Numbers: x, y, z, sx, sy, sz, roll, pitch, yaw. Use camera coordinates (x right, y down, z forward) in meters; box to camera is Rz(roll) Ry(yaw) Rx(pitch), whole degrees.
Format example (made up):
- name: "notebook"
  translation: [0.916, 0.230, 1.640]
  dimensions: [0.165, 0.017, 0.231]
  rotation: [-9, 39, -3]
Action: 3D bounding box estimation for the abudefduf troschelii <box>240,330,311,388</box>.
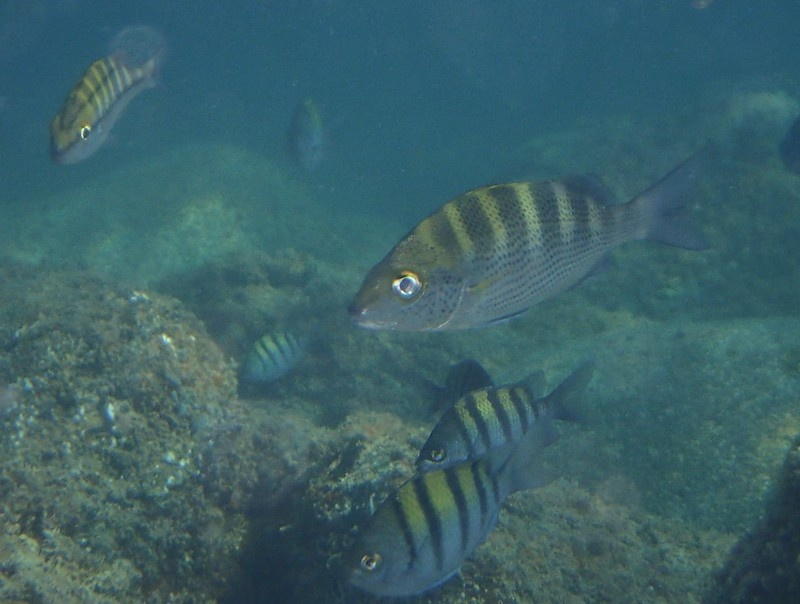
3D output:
- name: "abudefduf troschelii"
  translation: [-1.125, 0.494, 9.030]
  dimensions: [0.546, 0.162, 0.381]
  rotation: [-33, 94, -39]
